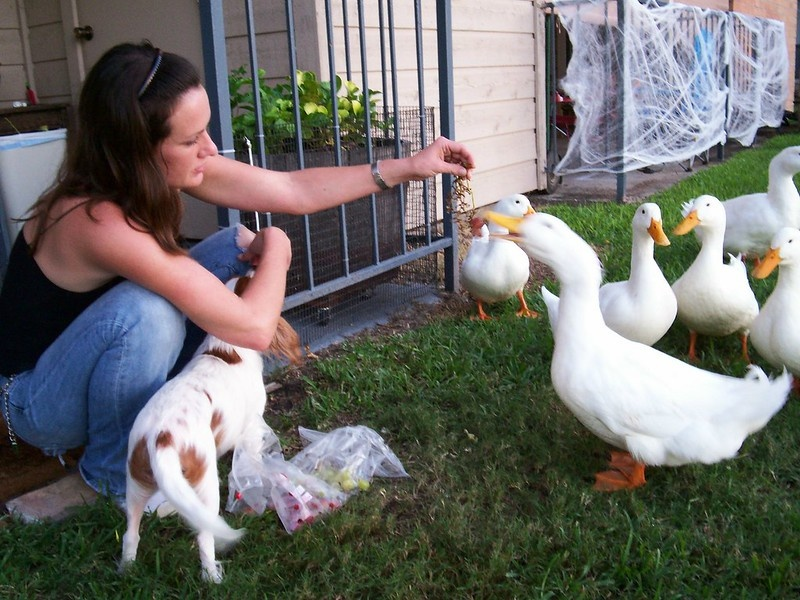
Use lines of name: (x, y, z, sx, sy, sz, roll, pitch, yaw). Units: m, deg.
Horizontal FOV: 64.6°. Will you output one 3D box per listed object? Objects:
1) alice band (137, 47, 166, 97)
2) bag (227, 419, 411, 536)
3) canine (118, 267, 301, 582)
alice band: (-0.803, -0.727, 2.042, 0.030, 0.134, 0.100, 19, -15, -19)
bag: (-0.321, 0.690, 2.503, 0.380, 0.208, 0.510, 2, 14, 37)
canine: (-0.678, 0.463, 2.269, 0.396, 0.741, 1.294, 4, 10, -3)
